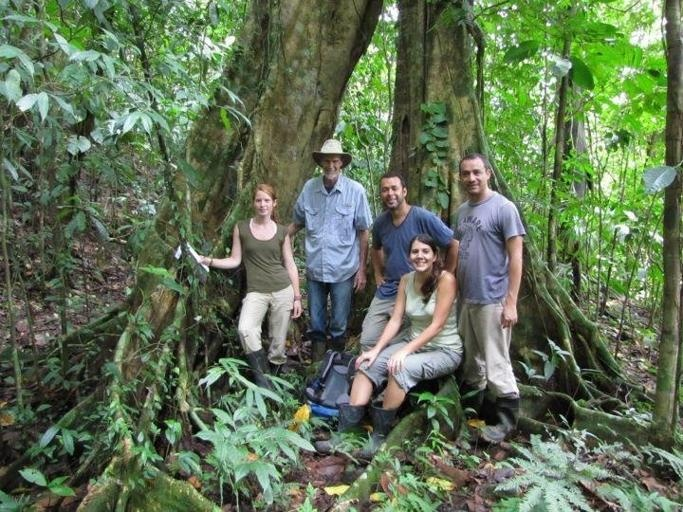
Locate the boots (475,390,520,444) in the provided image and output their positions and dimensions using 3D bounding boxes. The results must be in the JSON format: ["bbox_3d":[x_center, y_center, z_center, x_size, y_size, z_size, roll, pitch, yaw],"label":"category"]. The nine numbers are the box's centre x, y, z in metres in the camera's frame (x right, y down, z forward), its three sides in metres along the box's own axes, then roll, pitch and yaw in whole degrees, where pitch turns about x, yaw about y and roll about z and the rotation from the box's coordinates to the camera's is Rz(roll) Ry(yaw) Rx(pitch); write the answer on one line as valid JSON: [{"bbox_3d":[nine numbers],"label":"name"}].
[{"bbox_3d":[1.261,1.331,4.302,0.364,0.420,0.204,0,-2,-16],"label":"boots"}]

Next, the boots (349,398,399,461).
[{"bbox_3d":[0.295,1.333,4.101,0.228,0.346,0.587,6,8,19],"label":"boots"}]

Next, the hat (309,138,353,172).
[{"bbox_3d":[-0.102,-0.996,5.020,0.364,0.253,0.434,4,8,-4],"label":"hat"}]

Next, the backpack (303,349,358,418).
[{"bbox_3d":[-0.046,1.109,4.632,0.475,0.246,0.613,6,38,7],"label":"backpack"}]

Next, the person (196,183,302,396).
[{"bbox_3d":[-0.713,0.229,4.718,0.602,1.719,0.547,6,8,22],"label":"person"}]

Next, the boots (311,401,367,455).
[{"bbox_3d":[0.058,1.327,4.217,0.268,0.312,0.149,-1,-10,14],"label":"boots"}]

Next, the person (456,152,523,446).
[{"bbox_3d":[1.163,0.320,4.304,0.378,2.257,0.667,-2,9,-33],"label":"person"}]

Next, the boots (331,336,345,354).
[{"bbox_3d":[-0.028,0.830,4.998,0.113,0.153,0.130,-1,7,-1],"label":"boots"}]
